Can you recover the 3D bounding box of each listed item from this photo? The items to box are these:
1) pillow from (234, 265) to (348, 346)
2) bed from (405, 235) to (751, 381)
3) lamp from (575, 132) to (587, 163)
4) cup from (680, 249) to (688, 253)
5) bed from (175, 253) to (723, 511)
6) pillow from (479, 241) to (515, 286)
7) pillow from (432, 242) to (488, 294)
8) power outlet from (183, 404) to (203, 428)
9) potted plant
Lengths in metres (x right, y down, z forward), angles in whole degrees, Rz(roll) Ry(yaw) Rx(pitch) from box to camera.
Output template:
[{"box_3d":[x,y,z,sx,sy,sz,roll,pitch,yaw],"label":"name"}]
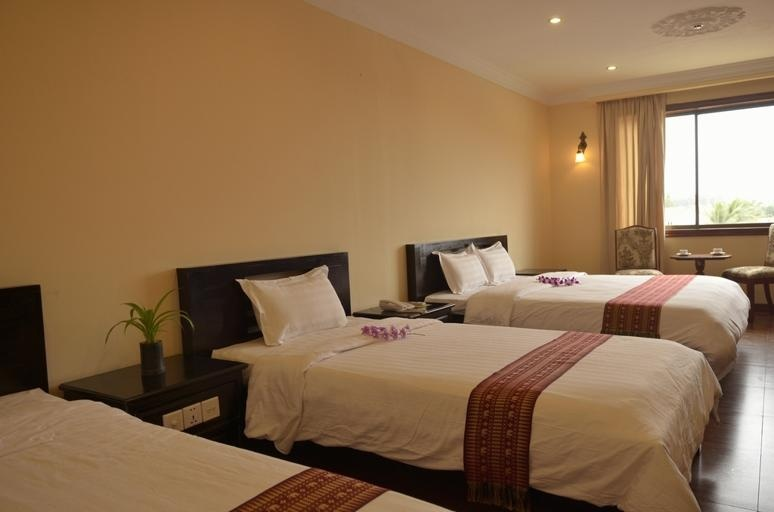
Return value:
[{"box_3d":[-0.701,0.377,3.958,0.623,0.546,0.165,-12,-20,-45],"label":"pillow"},{"box_3d":[1.842,0.418,5.120,2.278,0.880,1.915,0,5,28],"label":"bed"},{"box_3d":[2.999,-1.691,7.997,0.196,0.470,0.118,0,7,42],"label":"lamp"},{"box_3d":[4.139,-0.063,7.151,0.107,0.046,0.107,0,3,0],"label":"cup"},{"box_3d":[0.343,0.842,3.432,2.827,1.059,1.821,0,4,29],"label":"bed"},{"box_3d":[1.292,0.095,6.081,0.496,0.431,0.130,-18,-12,-45],"label":"pillow"},{"box_3d":[0.810,0.162,5.608,0.550,0.476,0.124,-9,-23,-45],"label":"pillow"},{"box_3d":[-1.204,0.982,3.187,0.019,0.171,0.162,3,6,38],"label":"power outlet"},{"box_3d":[-1.529,0.487,3.507,0.500,0.465,0.509,0,0,28],"label":"potted plant"}]
